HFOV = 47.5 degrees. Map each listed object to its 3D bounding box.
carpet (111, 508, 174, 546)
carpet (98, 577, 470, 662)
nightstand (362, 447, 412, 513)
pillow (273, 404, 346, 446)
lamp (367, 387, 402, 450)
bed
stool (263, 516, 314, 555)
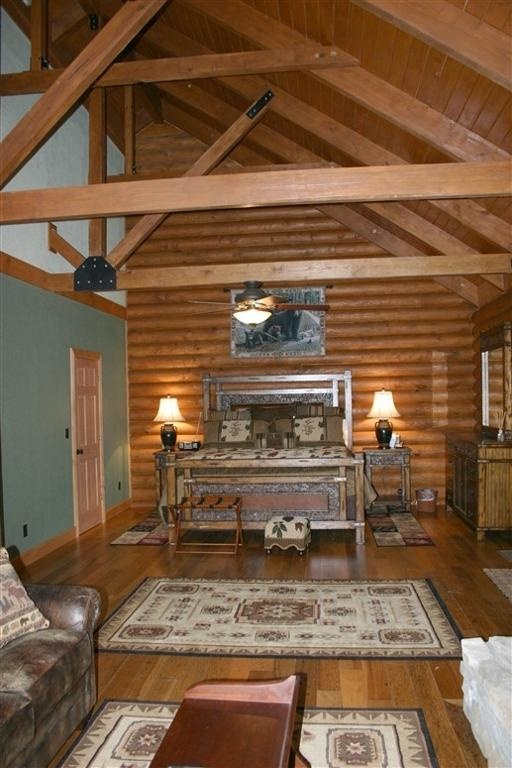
[{"bbox_3d":[-1.316,1.578,6.640,0.587,0.308,1.433,-3,2,-11],"label":"carpet"},{"bbox_3d":[0.148,1.590,3.924,2.288,0.058,1.163,-2,2,7],"label":"carpet"},{"bbox_3d":[1.713,1.185,7.503,0.545,0.788,0.644,-2,2,14],"label":"nightstand"},{"bbox_3d":[0.705,0.491,7.253,0.811,0.490,0.237,-2,-28,6],"label":"pillow"},{"bbox_3d":[1.646,0.433,7.586,0.385,0.719,0.566,-2,2,12],"label":"lamp"},{"bbox_3d":[0.267,0.770,6.832,1.718,1.374,2.173,0,1,8],"label":"bed"},{"bbox_3d":[0.301,1.431,5.551,0.382,0.324,0.321,-2,2,13],"label":"stool"}]
